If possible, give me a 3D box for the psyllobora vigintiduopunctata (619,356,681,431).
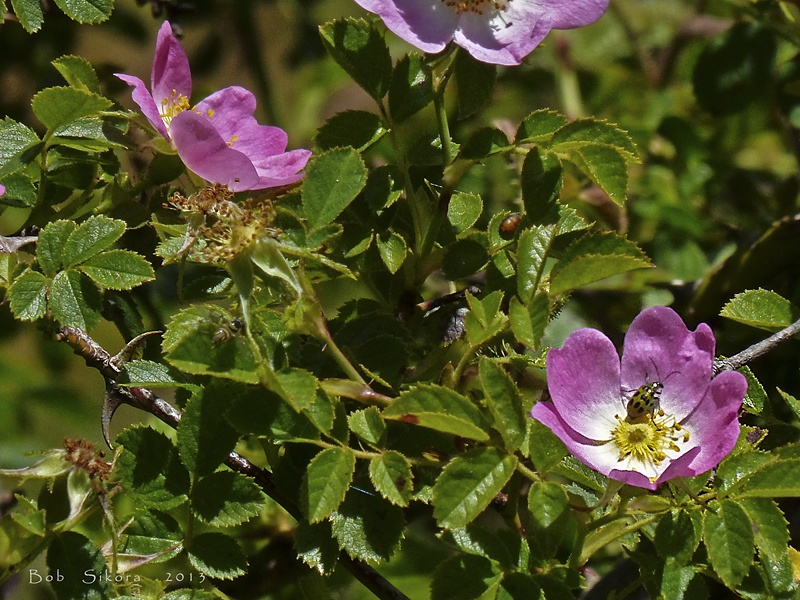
[{"bbox_3d":[0.404,0.156,1.640,0.089,0.030,0.097,32,85,26],"label":"psyllobora vigintiduopunctata"}]

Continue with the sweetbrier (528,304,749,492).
[{"bbox_3d":[0.374,0.162,1.594,0.306,0.175,0.296,20,54,8],"label":"sweetbrier"}]

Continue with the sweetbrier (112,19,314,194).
[{"bbox_3d":[-0.297,-0.272,1.760,0.302,0.139,0.320,50,18,18],"label":"sweetbrier"}]
